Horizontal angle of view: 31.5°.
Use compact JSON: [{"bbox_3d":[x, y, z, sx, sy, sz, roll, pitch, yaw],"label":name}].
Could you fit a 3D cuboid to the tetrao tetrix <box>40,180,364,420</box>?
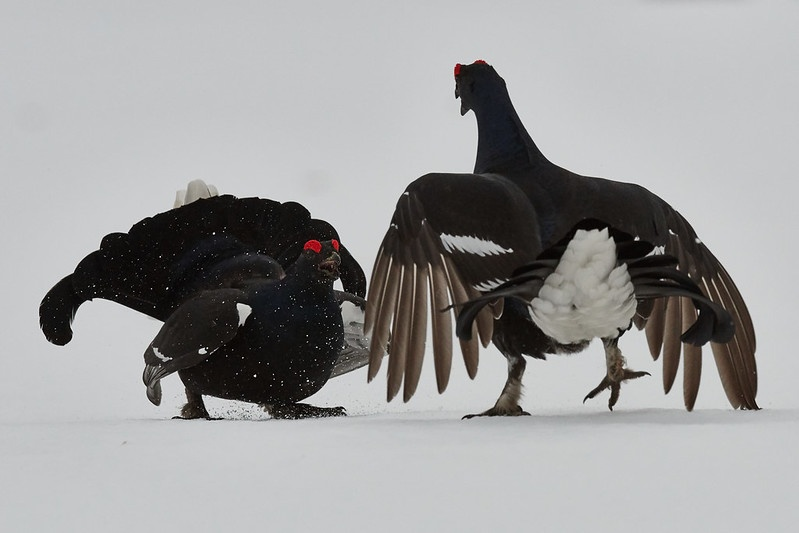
[{"bbox_3d":[-1.423,0.254,10.166,1.870,1.181,2.063,2,15,-45],"label":"tetrao tetrix"}]
